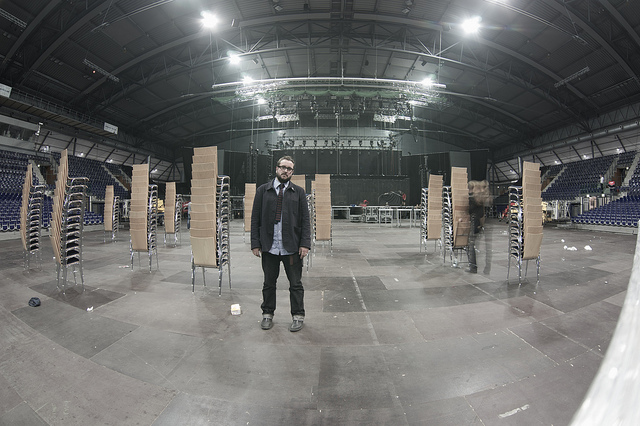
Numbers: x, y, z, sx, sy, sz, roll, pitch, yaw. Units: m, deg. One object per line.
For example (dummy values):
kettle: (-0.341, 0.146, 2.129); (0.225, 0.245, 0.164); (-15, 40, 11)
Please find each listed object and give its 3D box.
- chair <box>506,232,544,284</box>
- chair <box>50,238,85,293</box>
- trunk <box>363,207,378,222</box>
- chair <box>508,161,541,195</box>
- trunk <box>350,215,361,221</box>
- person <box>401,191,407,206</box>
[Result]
chair: (6.884, 1.411, 11.585); (0.920, 1.621, 1.575); (-1, 2, 32)
chair: (-8.071, 1.521, 11.030); (0.611, 1.691, 0.752); (12, 16, 40)
trunk: (4.321, 0.074, 29.881); (1.227, 1.297, 3.201); (-1, 1, 7)
chair: (6.725, -1.156, 11.196); (1.022, 1.074, 0.486); (-2, 1, -12)
trunk: (3.229, 0.402, 31.276); (0.898, 0.578, 2.522); (-1, 1, 7)
person: (7.853, -1.388, 32.301); (0.354, 1.147, 0.803); (2, -3, -7)
